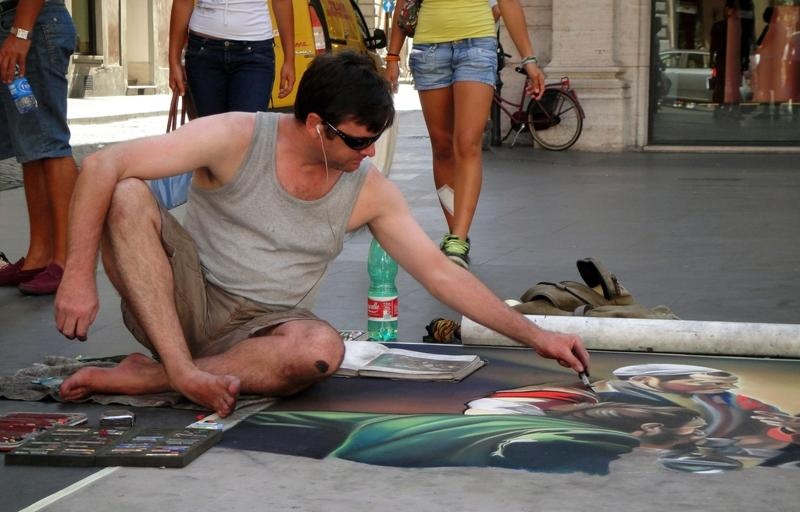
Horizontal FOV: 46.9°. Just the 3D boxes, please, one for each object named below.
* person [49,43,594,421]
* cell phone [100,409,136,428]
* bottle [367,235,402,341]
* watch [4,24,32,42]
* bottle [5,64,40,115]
[{"bbox_3d":[-0.486,-0.110,3.855,1.738,1.456,0.593,-1,10,6],"label":"person"},{"bbox_3d":[-1.121,0.646,3.669,0.133,0.056,0.126,-3,8,-10],"label":"cell phone"},{"bbox_3d":[-0.057,0.133,4.824,0.215,0.606,0.184,-2,1,-14],"label":"bottle"},{"bbox_3d":[-2.236,-1.318,5.461,0.118,0.066,0.122,12,2,-41],"label":"watch"},{"bbox_3d":[-2.266,-1.000,5.569,0.151,0.273,0.055,-5,11,-16],"label":"bottle"}]
